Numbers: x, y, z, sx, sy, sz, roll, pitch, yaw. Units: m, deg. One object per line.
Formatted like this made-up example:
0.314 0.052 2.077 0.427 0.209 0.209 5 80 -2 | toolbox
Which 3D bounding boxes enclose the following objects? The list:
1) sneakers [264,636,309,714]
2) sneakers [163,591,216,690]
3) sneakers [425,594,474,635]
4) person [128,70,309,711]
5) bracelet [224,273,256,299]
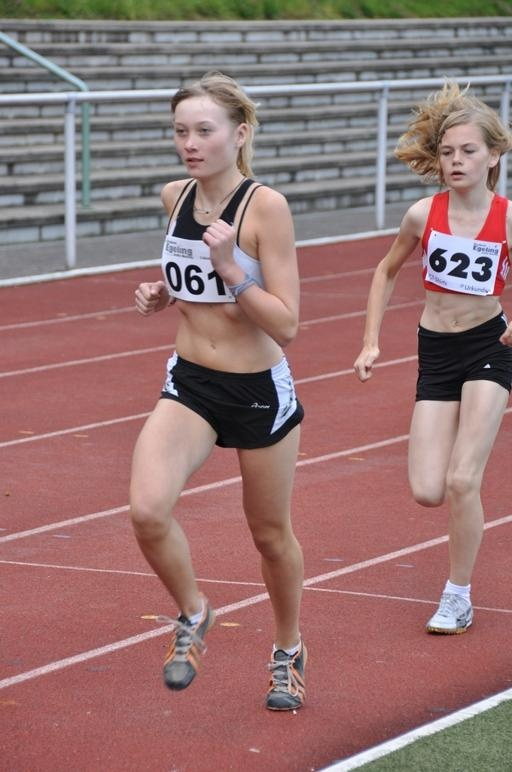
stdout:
0.076 0.694 1.920 0.066 0.076 0.180 -2 38 12 | sneakers
-0.138 0.505 1.599 0.074 0.074 0.185 2 55 25 | sneakers
0.581 0.691 2.404 0.084 0.072 0.167 1 4 27 | sneakers
-0.074 0.061 1.720 0.372 1.470 0.629 1 8 4 | person
-0.042 -0.196 1.548 0.048 0.054 0.029 -2 -30 1 | bracelet
